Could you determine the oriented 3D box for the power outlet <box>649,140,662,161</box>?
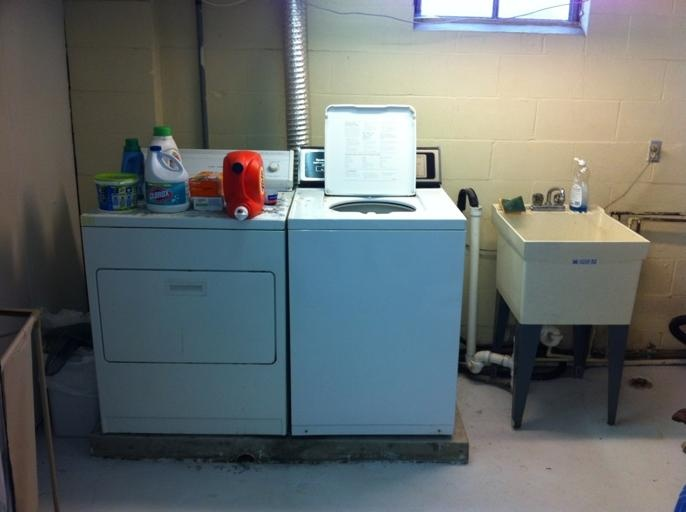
[{"bbox_3d":[1.886,-0.635,3.582,0.081,0.136,0.019,-5,17,-9],"label":"power outlet"}]

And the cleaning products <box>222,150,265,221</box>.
[{"bbox_3d":[-0.468,-0.351,2.818,0.214,0.314,0.219,-11,25,-26],"label":"cleaning products"}]

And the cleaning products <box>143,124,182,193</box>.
[{"bbox_3d":[-0.874,-0.508,2.892,0.120,0.236,0.132,-3,20,-7],"label":"cleaning products"}]

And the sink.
[{"bbox_3d":[1.252,0.060,3.325,0.698,0.612,0.581,-3,17,-1],"label":"sink"}]

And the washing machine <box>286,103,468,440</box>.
[{"bbox_3d":[0.159,0.064,3.181,1.068,1.597,1.114,8,17,26],"label":"washing machine"}]

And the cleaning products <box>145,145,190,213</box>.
[{"bbox_3d":[-0.840,-0.370,2.818,0.192,0.306,0.134,-8,18,-18],"label":"cleaning products"}]

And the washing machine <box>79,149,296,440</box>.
[{"bbox_3d":[-0.775,0.105,3.132,0.953,1.353,0.760,2,21,-8],"label":"washing machine"}]
